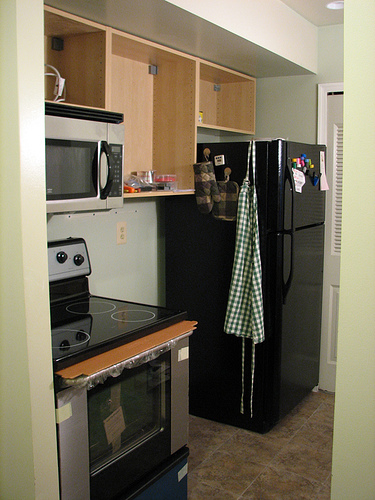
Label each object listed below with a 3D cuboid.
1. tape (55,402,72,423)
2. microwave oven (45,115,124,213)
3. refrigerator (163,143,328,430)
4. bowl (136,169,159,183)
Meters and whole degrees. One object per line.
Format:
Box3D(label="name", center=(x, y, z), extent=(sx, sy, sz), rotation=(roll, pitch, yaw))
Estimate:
Box3D(label="tape", center=(-0.371, 0.482, 1.171), extent=(0.010, 0.050, 0.072), rotation=(1, 4, 20))
Box3D(label="microwave oven", center=(-0.400, -0.339, 1.571), extent=(0.285, 0.427, 0.456), rotation=(3, 5, 28))
Box3D(label="refrigerator", center=(0.500, 0.190, 2.820), extent=(0.872, 1.747, 0.759), rotation=(-5, 7, -41))
Box3D(label="bowl", center=(-0.233, -0.418, 2.226), extent=(0.095, 0.082, 0.077), rotation=(10, 13, 33))
